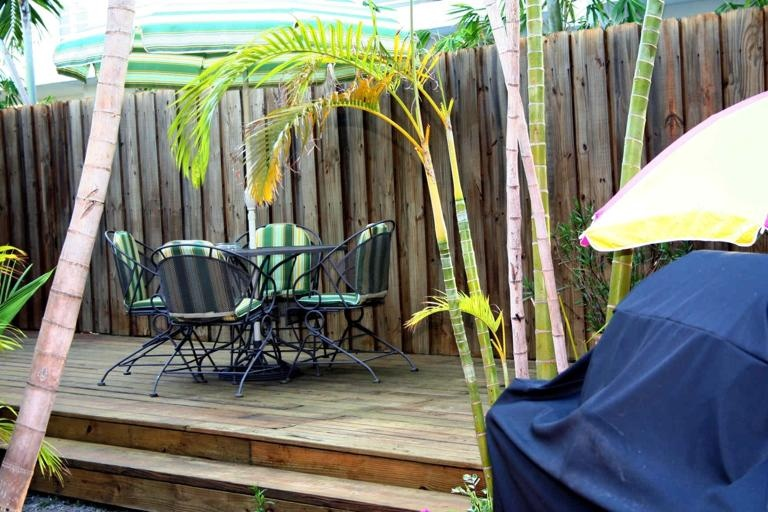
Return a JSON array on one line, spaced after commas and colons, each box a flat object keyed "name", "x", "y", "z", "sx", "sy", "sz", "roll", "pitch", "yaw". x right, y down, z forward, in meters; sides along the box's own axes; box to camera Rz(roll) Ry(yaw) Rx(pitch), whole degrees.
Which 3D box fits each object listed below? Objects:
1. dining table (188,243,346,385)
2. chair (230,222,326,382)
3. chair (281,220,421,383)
[{"name": "dining table", "x": -0.842, "y": 0.443, "z": 5.241, "sx": 1.119, "sy": 1.018, "sz": 1.188, "roll": -1, "pitch": -6, "yaw": 12}, {"name": "chair", "x": -0.884, "y": 0.375, "z": 5.416, "sx": 0.791, "sy": 1.123, "sz": 0.891, "roll": -3, "pitch": 24, "yaw": -18}, {"name": "chair", "x": -0.265, "y": 0.296, "z": 5.170, "sx": 0.729, "sy": 1.137, "sz": 0.693, "roll": 3, "pitch": 3, "yaw": 28}]
